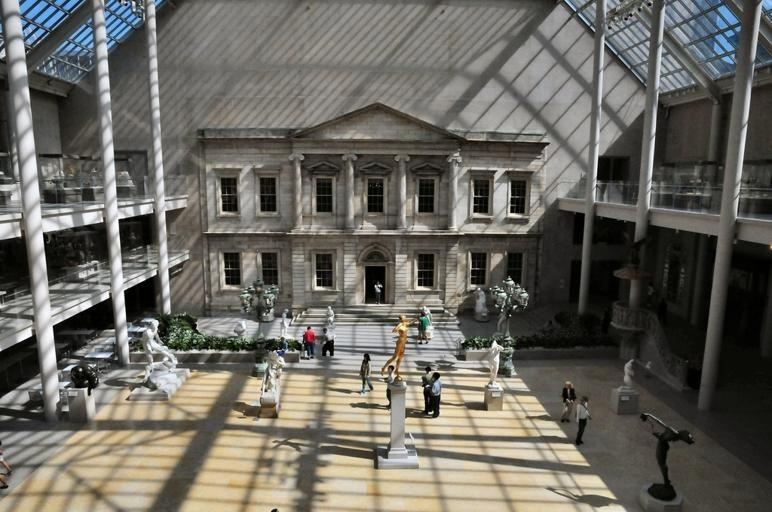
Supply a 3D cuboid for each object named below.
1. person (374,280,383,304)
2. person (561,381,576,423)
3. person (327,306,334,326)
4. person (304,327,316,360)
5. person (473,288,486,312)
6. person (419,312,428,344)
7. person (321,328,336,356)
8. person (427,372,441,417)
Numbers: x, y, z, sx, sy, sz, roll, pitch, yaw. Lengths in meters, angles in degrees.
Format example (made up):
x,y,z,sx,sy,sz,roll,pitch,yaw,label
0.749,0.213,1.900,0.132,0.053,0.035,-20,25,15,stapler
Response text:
x,y,z,sx,sy,sz,roll,pitch,yaw,label
-0.450,2.282,36.395,0.511,1.359,1.391,1,1,2,person
7.877,6.240,25.810,0.583,1.666,1.265,1,1,18,person
-3.057,3.366,33.027,0.551,1.257,0.495,5,35,-9,person
-3.941,4.480,30.705,0.565,1.569,0.898,0,1,-3,person
5.750,2.755,36.508,0.729,1.453,1.001,1,1,10,person
2.060,3.922,32.719,0.497,1.672,0.689,1,1,5,person
-2.964,4.467,31.034,0.665,1.476,0.843,0,1,-6,person
2.098,5.943,25.707,0.438,1.987,0.833,1,1,4,person
